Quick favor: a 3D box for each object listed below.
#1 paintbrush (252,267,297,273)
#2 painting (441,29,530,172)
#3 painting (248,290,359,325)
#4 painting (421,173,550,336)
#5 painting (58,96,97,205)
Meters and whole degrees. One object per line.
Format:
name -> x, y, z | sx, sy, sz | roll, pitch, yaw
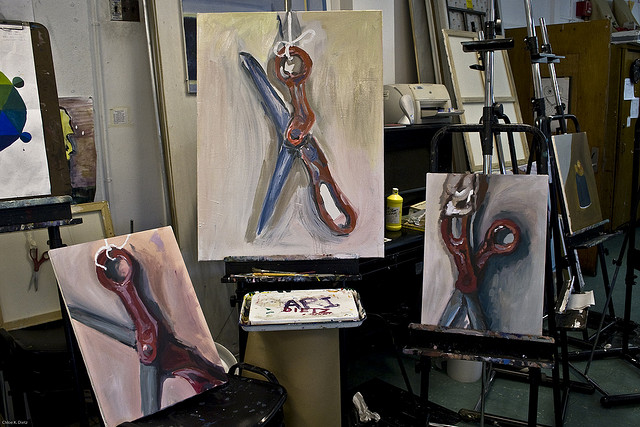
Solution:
paintbrush -> -0.254, 0.294, 2.710 | 0.179, 0.038, 0.008 | -4, 9, 0
painting -> 1.283, -0.875, 4.045 | 0.393, 1.082, 0.958 | 6, 13, 43
painting -> -0.078, 0.489, 2.662 | 0.607, 0.070, 0.376 | 0, 13, -4
painting -> 0.795, 0.191, 2.533 | 0.602, 0.777, 0.175 | -2, 10, 11
painting -> -1.422, -0.405, 3.144 | 0.209, 0.755, 0.082 | -3, 16, -24
